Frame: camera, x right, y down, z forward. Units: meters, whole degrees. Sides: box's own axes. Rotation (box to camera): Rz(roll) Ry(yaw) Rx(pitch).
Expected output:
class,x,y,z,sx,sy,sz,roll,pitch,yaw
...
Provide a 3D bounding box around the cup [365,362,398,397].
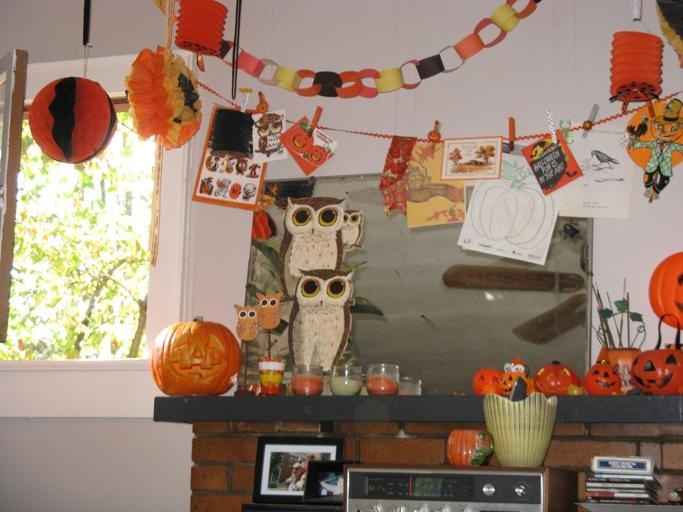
class,x,y,z,sx,sy,sz,roll,pitch,yaw
cup,0.158,0.479,3.161,0.113,0.103,0.115,1,-10,0

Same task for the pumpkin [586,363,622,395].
class,x,y,z,sx,sy,sz,roll,pitch,yaw
pumpkin,0.974,0.472,3.022,0.120,0.166,0.120,4,-11,-6

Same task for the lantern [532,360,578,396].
class,x,y,z,sx,sy,sz,roll,pitch,yaw
lantern,0.824,0.478,3.071,0.124,0.110,0.127,-3,-31,12

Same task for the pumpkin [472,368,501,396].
class,x,y,z,sx,sy,sz,roll,pitch,yaw
pumpkin,0.577,0.502,3.199,0.098,0.094,0.100,1,-8,6

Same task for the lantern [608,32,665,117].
class,x,y,z,sx,sy,sz,roll,pitch,yaw
lantern,1.146,-0.742,3.110,0.181,0.238,0.188,3,-5,18

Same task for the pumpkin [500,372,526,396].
class,x,y,z,sx,sy,sz,roll,pitch,yaw
pumpkin,0.633,0.467,2.936,0.104,0.086,0.103,-6,0,-32

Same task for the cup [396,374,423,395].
class,x,y,z,sx,sy,sz,roll,pitch,yaw
cup,0.290,0.529,3.310,0.065,0.079,0.086,3,-3,4

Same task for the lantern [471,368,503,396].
class,x,y,z,sx,sy,sz,roll,pitch,yaw
lantern,0.577,0.494,3.146,0.100,0.096,0.102,1,-10,5

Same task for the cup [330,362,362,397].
class,x,y,z,sx,sy,sz,roll,pitch,yaw
cup,0.024,0.494,3.164,0.113,0.111,0.114,1,-8,0

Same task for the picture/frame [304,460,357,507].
class,x,y,z,sx,sy,sz,roll,pitch,yaw
picture/frame,-0.057,0.825,2.896,0.146,0.176,0.148,4,-5,10

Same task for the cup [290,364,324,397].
class,x,y,z,sx,sy,sz,roll,pitch,yaw
cup,-0.134,0.495,3.183,0.115,0.103,0.117,0,-8,0

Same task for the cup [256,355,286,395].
class,x,y,z,sx,sy,sz,roll,pitch,yaw
cup,-0.284,0.488,3.281,0.130,0.145,0.133,2,-14,1

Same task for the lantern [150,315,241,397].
class,x,y,z,sx,sy,sz,roll,pitch,yaw
lantern,-0.585,0.418,3.234,0.316,0.280,0.304,1,-19,-9

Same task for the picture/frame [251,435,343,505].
class,x,y,z,sx,sy,sz,roll,pitch,yaw
picture/frame,-0.162,0.832,3.100,0.272,0.203,0.027,1,-25,6

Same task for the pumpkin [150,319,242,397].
class,x,y,z,sx,sy,sz,roll,pitch,yaw
pumpkin,-0.589,0.446,3.238,0.317,0.288,0.304,1,-18,-9

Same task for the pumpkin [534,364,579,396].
class,x,y,z,sx,sy,sz,roll,pitch,yaw
pumpkin,0.850,0.468,3.041,0.166,0.122,0.222,5,-5,-9

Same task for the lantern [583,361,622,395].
class,x,y,z,sx,sy,sz,roll,pitch,yaw
lantern,0.968,0.462,3.059,0.123,0.169,0.121,4,-10,-13

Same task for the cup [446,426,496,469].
class,x,y,z,sx,sy,sz,roll,pitch,yaw
cup,0.440,0.643,2.723,0.128,0.107,0.126,-3,2,0

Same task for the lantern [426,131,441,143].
class,x,y,z,sx,sy,sz,roll,pitch,yaw
lantern,0.402,-0.514,3.491,0.047,0.049,0.049,1,-6,29
